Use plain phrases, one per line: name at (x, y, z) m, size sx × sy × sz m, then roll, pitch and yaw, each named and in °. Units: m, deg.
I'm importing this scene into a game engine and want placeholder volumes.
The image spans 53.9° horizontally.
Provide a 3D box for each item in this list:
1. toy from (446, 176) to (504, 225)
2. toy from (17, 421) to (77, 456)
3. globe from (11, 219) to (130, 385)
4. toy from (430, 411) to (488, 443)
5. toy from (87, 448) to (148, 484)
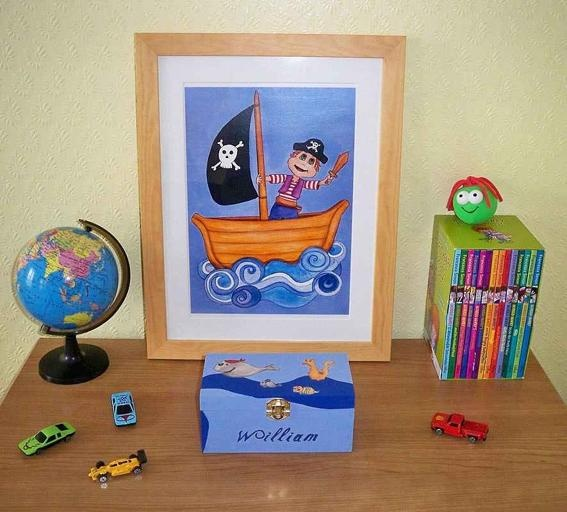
toy at (0.397, -0.111, 1.149) m, size 0.116 × 0.086 × 0.109 m, roll -1°, pitch 7°, yaw 21°
toy at (-0.418, 0.325, 0.992) m, size 0.088 × 0.021 × 0.041 m, roll -22°, pitch 41°, yaw -36°
globe at (-0.437, 0.101, 1.175) m, size 0.245 × 0.276 × 0.196 m, roll -1°, pitch 11°, yaw -24°
toy at (0.322, 0.315, 1.023) m, size 0.088 × 0.028 × 0.045 m, roll 8°, pitch 29°, yaw 18°
toy at (-0.280, 0.359, 0.943) m, size 0.080 × 0.018 × 0.039 m, roll -6°, pitch 28°, yaw -12°
